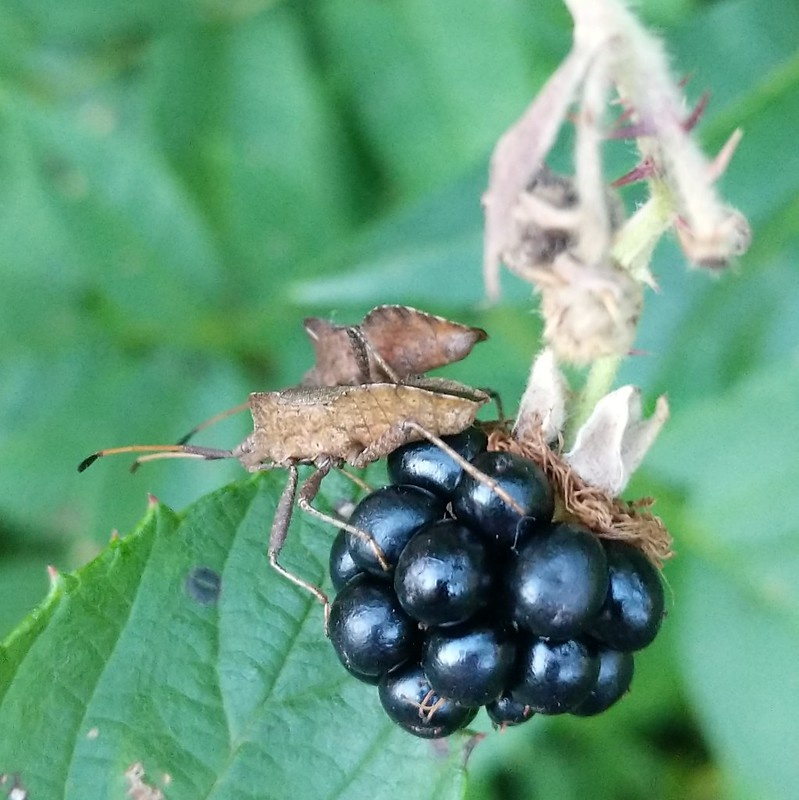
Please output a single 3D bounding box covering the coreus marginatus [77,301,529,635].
[{"bbox_3d":[-0.206,0.043,2.138,0.860,0.225,0.518,-24,47,-2],"label":"coreus marginatus"}]
